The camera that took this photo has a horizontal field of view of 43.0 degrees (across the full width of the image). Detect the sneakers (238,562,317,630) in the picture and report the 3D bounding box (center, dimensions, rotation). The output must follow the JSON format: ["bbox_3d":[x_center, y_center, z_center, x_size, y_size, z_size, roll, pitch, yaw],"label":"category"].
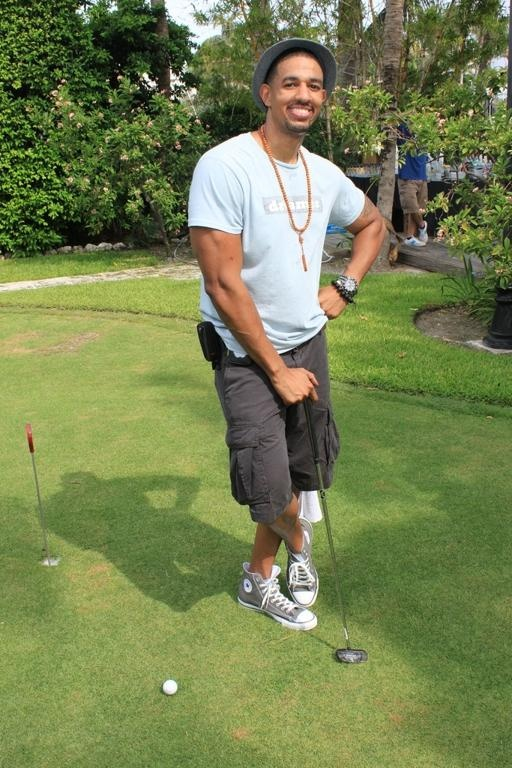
[{"bbox_3d":[0.074,0.756,2.435,0.356,0.179,0.128,14,23,30],"label":"sneakers"}]

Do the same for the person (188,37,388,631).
[{"bbox_3d":[0.079,-0.110,2.267,0.368,1.937,0.793,6,14,31],"label":"person"}]

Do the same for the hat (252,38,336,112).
[{"bbox_3d":[0.130,-1.000,2.068,0.286,0.213,0.300,-2,12,-6],"label":"hat"}]

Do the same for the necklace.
[{"bbox_3d":[0.093,-0.577,2.044,0.175,0.444,0.151,-1,12,0],"label":"necklace"}]

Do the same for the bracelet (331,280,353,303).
[{"bbox_3d":[0.332,-0.340,2.415,0.037,0.090,0.069,-23,29,26],"label":"bracelet"}]

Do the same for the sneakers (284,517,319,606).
[{"bbox_3d":[0.183,0.667,2.489,0.110,0.119,0.326,-14,42,17],"label":"sneakers"}]

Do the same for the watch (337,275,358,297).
[{"bbox_3d":[0.333,-0.355,2.396,0.036,0.085,0.071,-3,5,45],"label":"watch"}]
